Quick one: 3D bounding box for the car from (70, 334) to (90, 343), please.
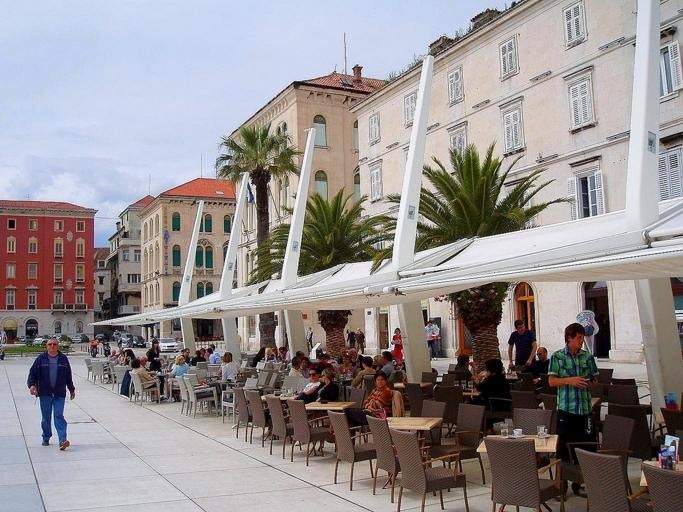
[{"bbox_3d":[-32.459,10.262,79.847,1.262,0.929,2.711,1,0,-6],"label":"car"}]

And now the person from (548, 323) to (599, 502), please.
[{"bbox_3d":[3.558,2.317,9.643,0.668,2.595,0.810,-4,-9,21],"label":"person"}]

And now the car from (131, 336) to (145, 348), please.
[{"bbox_3d":[-20.822,8.779,65.505,0.949,0.903,1.651,3,-12,-29],"label":"car"}]

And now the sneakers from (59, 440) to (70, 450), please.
[{"bbox_3d":[-5.744,3.934,13.278,0.097,0.116,0.265,-4,-32,-40],"label":"sneakers"}]
